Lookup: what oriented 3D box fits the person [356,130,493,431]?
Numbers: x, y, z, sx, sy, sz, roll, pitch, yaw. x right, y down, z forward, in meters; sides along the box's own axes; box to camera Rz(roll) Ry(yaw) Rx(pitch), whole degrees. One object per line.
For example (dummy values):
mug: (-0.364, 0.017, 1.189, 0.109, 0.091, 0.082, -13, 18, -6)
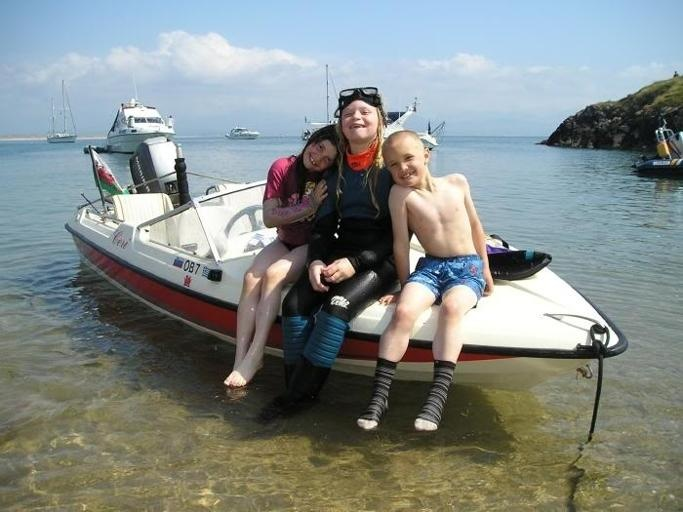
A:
person: (0.700, 0.104, 4.035, 0.942, 2.059, 1.261, 5, 17, 15)
